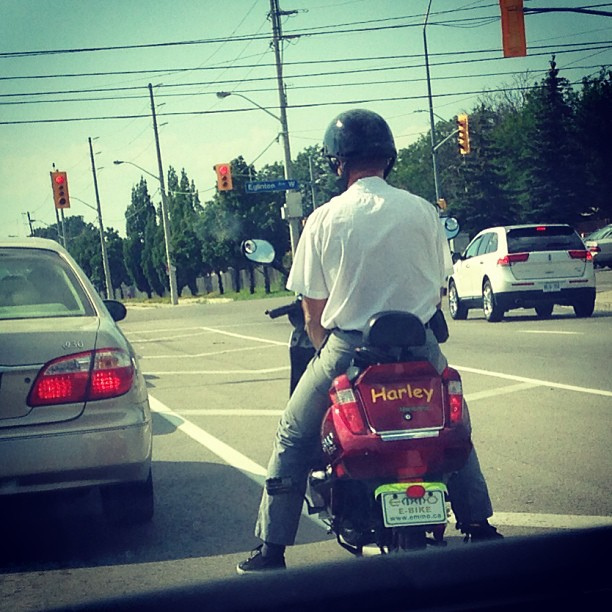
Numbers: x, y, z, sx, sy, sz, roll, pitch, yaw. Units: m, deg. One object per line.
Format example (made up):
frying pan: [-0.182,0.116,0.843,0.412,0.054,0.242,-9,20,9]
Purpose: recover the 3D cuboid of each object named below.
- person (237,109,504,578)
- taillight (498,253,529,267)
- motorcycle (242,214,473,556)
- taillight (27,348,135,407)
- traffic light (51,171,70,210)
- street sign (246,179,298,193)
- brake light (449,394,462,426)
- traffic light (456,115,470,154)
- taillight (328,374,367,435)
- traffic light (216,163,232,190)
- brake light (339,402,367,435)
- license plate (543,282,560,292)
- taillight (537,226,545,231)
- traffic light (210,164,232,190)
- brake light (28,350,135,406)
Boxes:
person: [0.246,0.162,3.714,1.021,2.087,0.737,-1,5,-14]
taillight: [3.543,-0.789,14.109,0.490,0.196,0.122,-4,7,16]
motorcycle: [0.246,0.467,3.813,0.864,1.304,1.727,-2,-6,-8]
taillight: [-1.122,0.353,4.078,0.690,0.262,0.225,-9,3,29]
traffic light: [-11.346,-5.411,38.403,0.633,1.845,0.382,-7,34,-15]
street sign: [-1.224,-4.245,29.230,1.758,0.393,2.329,-7,8,-4]
brake light: [0.569,0.392,3.148,0.046,0.111,0.091,-3,8,9]
traffic light: [5.667,-6.263,30.657,0.272,1.505,0.482,12,5,23]
taillight: [0.150,0.356,3.133,0.136,0.317,0.075,-5,28,11]
traffic light: [-3.149,-4.983,31.955,0.536,0.985,0.893,-5,8,-7]
brake light: [0.173,0.417,3.087,0.073,0.120,0.033,-15,-12,18]
license plate: [4.139,-0.326,13.990,0.274,0.149,0.022,-6,7,1]
taillight: [4.055,-1.351,14.311,0.074,0.067,0.089,3,-2,-7]
traffic light: [-3.203,-5.001,32.167,0.567,0.973,0.830,-6,8,-12]
brake light: [-1.078,0.343,3.975,0.260,0.125,0.298,-28,-11,27]
